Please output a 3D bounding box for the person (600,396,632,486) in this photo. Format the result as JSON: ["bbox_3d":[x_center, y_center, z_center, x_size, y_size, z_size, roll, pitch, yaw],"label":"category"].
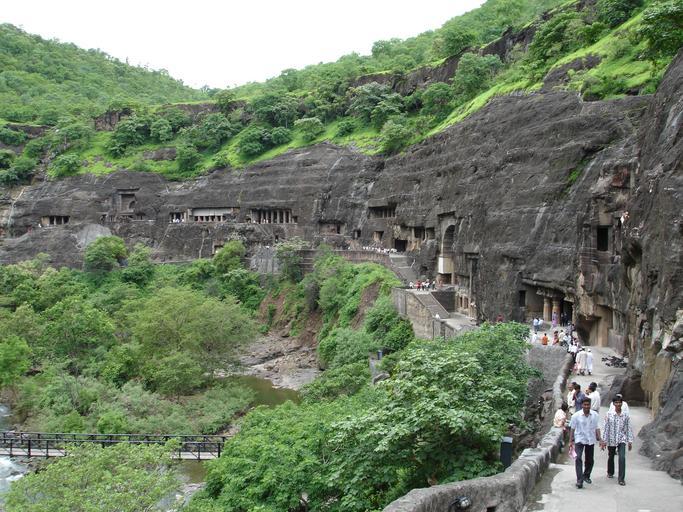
[{"bbox_3d":[7.113,4.733,13.921,0.624,2.321,0.790,0,-5,30],"label":"person"}]

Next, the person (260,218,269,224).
[{"bbox_3d":[-8.979,-4.041,62.797,0.985,0.933,0.703,2,11,19],"label":"person"}]

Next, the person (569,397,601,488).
[{"bbox_3d":[6.281,4.846,13.972,0.663,2.249,0.397,4,-5,-11],"label":"person"}]

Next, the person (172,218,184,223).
[{"bbox_3d":[-20.356,-4.554,67.283,0.992,0.256,1.049,0,9,9],"label":"person"}]

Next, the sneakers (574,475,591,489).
[{"bbox_3d":[6.141,5.831,13.748,0.175,0.220,0.529,-4,10,35],"label":"sneakers"}]
